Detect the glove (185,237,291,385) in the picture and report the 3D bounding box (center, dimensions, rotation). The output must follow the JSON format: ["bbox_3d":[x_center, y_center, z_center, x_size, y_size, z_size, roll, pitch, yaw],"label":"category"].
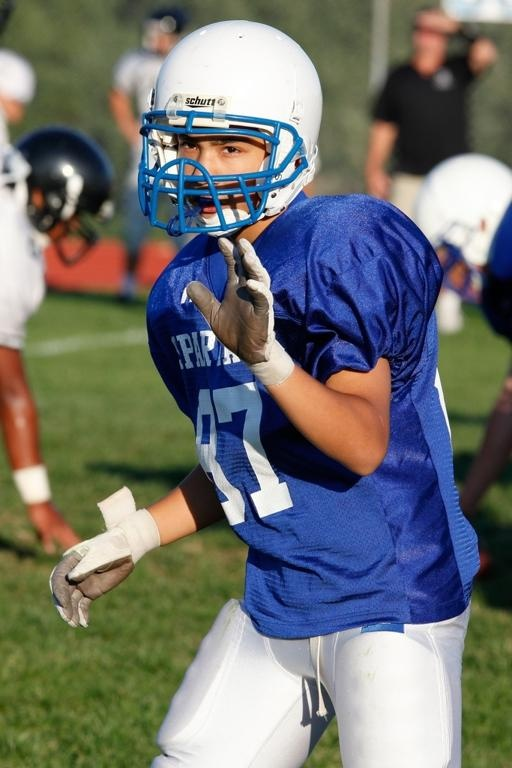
[{"bbox_3d":[-0.014,-0.090,1.011,0.064,0.150,0.175,-18,41,-24],"label":"glove"}]
